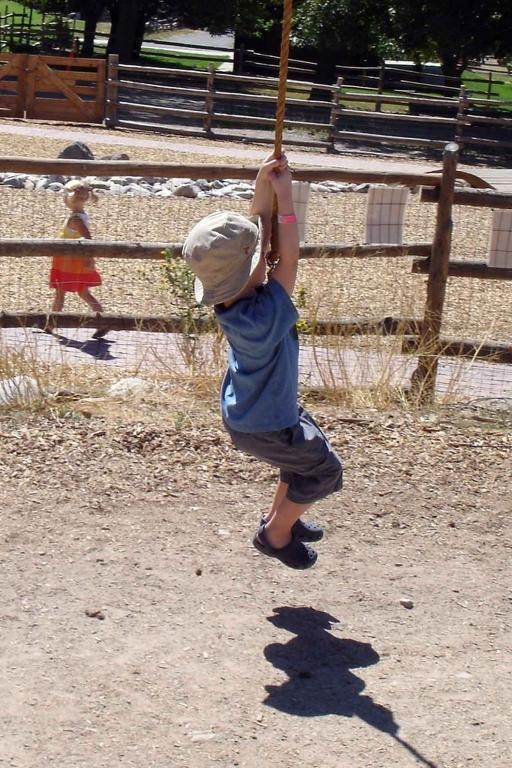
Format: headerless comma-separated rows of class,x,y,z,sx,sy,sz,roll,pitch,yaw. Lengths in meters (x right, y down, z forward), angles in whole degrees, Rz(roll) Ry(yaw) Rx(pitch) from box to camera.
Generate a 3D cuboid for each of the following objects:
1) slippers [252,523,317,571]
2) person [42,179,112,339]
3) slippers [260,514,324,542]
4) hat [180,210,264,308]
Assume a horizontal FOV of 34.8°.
slippers,0.096,0.509,2.515,0.223,0.086,0.096,21,35,-10
person,-1.244,-0.935,5.868,0.424,1.124,2.157,6,7,-14
slippers,0.099,0.454,2.590,0.221,0.086,0.077,3,31,-15
hat,-0.093,-0.339,2.201,0.202,0.256,0.217,7,8,1
